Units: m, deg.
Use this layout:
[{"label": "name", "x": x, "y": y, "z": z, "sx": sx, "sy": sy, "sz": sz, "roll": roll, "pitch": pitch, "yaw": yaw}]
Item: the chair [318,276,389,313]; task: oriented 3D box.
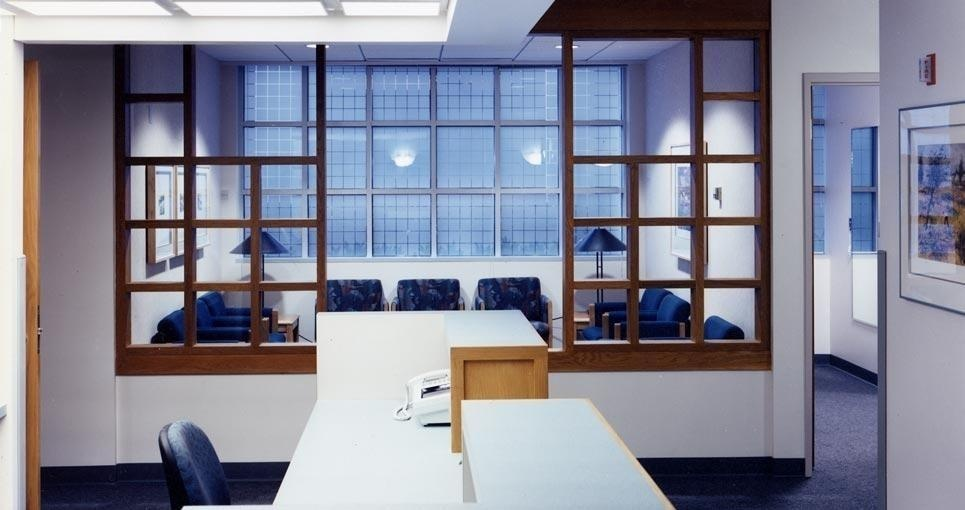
[{"label": "chair", "x": -1.526, "y": 0.463, "z": 8.926, "sx": 0.761, "sy": 0.421, "sz": 0.523, "roll": -1, "pitch": 13, "yaw": 1}]

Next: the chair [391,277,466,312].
[{"label": "chair", "x": -0.654, "y": 0.482, "z": 8.805, "sx": 0.808, "sy": 0.484, "sz": 0.390, "roll": 0, "pitch": -9, "yaw": -2}]

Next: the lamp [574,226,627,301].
[{"label": "lamp", "x": 1.351, "y": 0.161, "z": 8.309, "sx": 0.663, "sy": 0.823, "sz": 0.631, "roll": 1, "pitch": -1, "yaw": -27}]

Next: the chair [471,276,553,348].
[{"label": "chair", "x": 0.342, "y": 0.787, "z": 8.667, "sx": 0.969, "sy": 0.961, "sz": 0.609, "roll": 2, "pitch": 5, "yaw": -14}]
